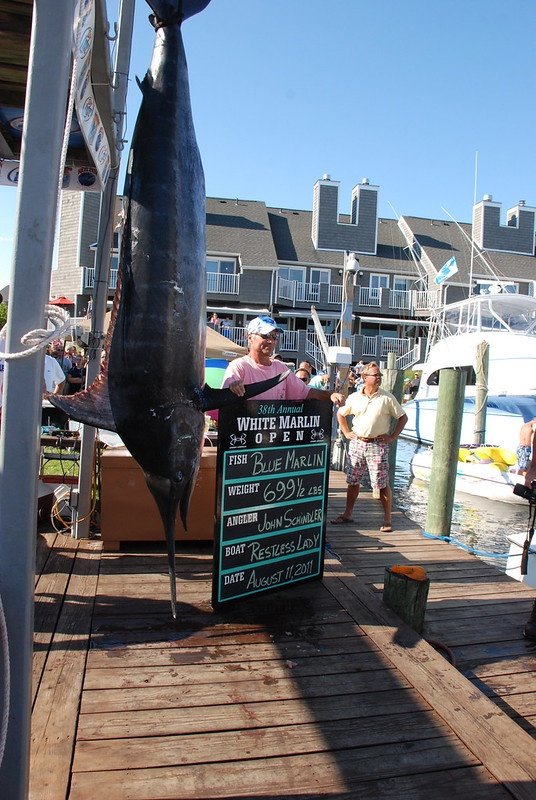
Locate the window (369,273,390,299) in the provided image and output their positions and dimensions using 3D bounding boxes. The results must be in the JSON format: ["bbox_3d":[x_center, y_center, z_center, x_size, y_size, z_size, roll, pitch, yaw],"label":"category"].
[{"bbox_3d":[4.746,-4.886,27.711,1.114,1.472,0.083,10,-27,-17],"label":"window"}]

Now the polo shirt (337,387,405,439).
[{"bbox_3d":[0.976,0.119,6.069,0.650,0.559,0.320,-3,-20,37],"label":"polo shirt"}]

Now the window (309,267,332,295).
[{"bbox_3d":[2.132,-4.960,26.901,1.254,1.484,0.094,1,-12,-17],"label":"window"}]

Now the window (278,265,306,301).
[{"bbox_3d":[0.984,-4.666,26.796,0.845,1.404,1.406,9,37,0],"label":"window"}]

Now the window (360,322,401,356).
[{"bbox_3d":[4.456,-2.350,26.133,1.838,0.857,2.006,0,3,13],"label":"window"}]

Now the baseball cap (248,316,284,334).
[{"bbox_3d":[-0.018,-0.388,3.388,0.103,0.082,0.158,4,1,-32],"label":"baseball cap"}]

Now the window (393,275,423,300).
[{"bbox_3d":[6.087,-4.920,28.173,1.072,1.096,0.087,9,-20,-14],"label":"window"}]

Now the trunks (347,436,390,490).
[{"bbox_3d":[0.892,0.540,5.811,0.357,0.478,0.258,3,12,23],"label":"trunks"}]
